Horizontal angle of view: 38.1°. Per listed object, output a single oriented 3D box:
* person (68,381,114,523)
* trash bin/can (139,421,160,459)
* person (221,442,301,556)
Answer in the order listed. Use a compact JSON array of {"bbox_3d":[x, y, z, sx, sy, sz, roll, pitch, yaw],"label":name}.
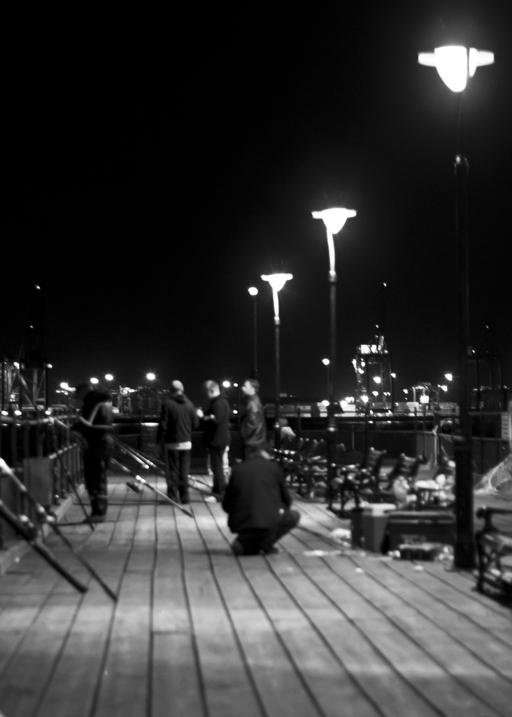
[{"bbox_3d":[-2.413,1.385,10.966,0.542,2.052,1.241,1,-4,-15],"label":"person"},{"bbox_3d":[-3.384,2.634,23.763,0.594,1.092,0.908,0,-5,2],"label":"trash bin/can"},{"bbox_3d":[0.059,1.574,8.287,0.667,1.754,0.895,-2,-7,9],"label":"person"}]
